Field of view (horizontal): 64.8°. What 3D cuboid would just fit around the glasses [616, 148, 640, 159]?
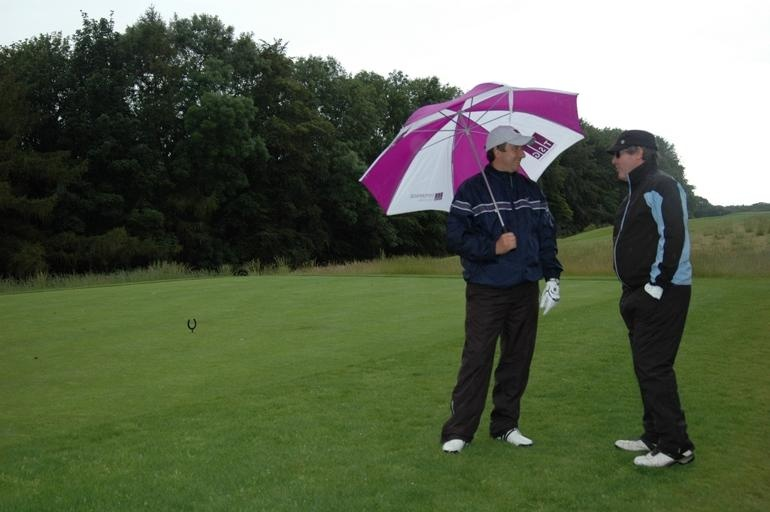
[{"bbox_3d":[2.360,-1.013,5.907,0.127,0.062,0.090,-26,9,-9],"label":"glasses"}]

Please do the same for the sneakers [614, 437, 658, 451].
[{"bbox_3d":[2.293,1.730,5.555,0.336,0.141,0.131,3,-4,8],"label":"sneakers"}]

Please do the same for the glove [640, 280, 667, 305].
[{"bbox_3d":[2.445,0.322,5.527,0.166,0.162,0.086,4,11,26],"label":"glove"}]

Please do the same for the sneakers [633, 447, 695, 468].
[{"bbox_3d":[2.438,1.765,5.418,0.522,0.239,0.191,1,-10,3],"label":"sneakers"}]

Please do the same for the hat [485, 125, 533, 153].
[{"bbox_3d":[1.188,-1.156,5.864,0.332,0.187,0.239,-6,20,17],"label":"hat"}]

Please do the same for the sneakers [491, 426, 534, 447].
[{"bbox_3d":[1.219,1.703,5.743,0.147,0.099,0.246,-1,-4,-40],"label":"sneakers"}]

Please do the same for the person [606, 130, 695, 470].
[{"bbox_3d":[2.475,0.312,5.617,0.766,2.927,1.180,2,10,15],"label":"person"}]
